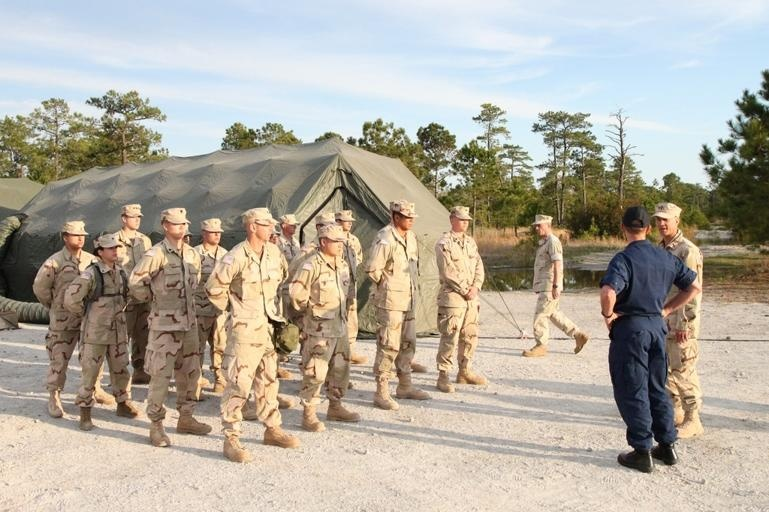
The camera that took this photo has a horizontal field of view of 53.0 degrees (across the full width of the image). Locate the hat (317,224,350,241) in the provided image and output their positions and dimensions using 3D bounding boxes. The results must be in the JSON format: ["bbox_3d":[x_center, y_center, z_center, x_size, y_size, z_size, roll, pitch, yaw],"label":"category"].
[{"bbox_3d":[-0.703,-0.333,11.432,0.380,0.147,0.251,-1,13,-45],"label":"hat"}]

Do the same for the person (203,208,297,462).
[{"bbox_3d":[-1.867,1.087,10.882,1.185,3.577,0.558,2,0,-34],"label":"person"}]

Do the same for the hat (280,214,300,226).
[{"bbox_3d":[-1.832,-0.675,14.414,0.236,0.125,0.340,-5,10,-41],"label":"hat"}]

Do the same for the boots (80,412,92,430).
[{"bbox_3d":[-4.412,2.412,11.525,0.193,0.349,0.283,2,0,-21],"label":"boots"}]

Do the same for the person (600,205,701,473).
[{"bbox_3d":[3.457,1.116,10.515,1.338,3.557,0.415,2,0,-23],"label":"person"}]

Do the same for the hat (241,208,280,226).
[{"bbox_3d":[-1.791,-0.551,10.980,0.373,0.145,0.264,3,4,10],"label":"hat"}]

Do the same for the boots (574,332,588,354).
[{"bbox_3d":[3.722,1.647,14.744,0.213,0.399,0.577,2,0,12],"label":"boots"}]

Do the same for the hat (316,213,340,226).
[{"bbox_3d":[-0.902,-0.563,11.933,0.220,0.143,0.294,0,4,7],"label":"hat"}]

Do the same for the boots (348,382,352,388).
[{"bbox_3d":[-0.574,2.198,13.078,0.090,0.047,0.120,1,-2,2],"label":"boots"}]

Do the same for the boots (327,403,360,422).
[{"bbox_3d":[-0.641,2.389,11.817,0.569,0.373,0.217,-1,4,-3],"label":"boots"}]

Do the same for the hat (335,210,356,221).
[{"bbox_3d":[-0.753,-0.697,13.410,0.253,0.133,0.366,-4,6,-44],"label":"hat"}]

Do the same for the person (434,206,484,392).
[{"bbox_3d":[1.264,0.723,12.884,0.615,3.065,0.845,2,0,43],"label":"person"}]

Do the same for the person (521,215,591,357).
[{"bbox_3d":[3.315,0.554,15.040,1.031,2.669,1.470,2,0,15],"label":"person"}]

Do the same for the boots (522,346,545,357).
[{"bbox_3d":[2.830,1.807,14.542,0.447,0.269,0.169,2,-3,1],"label":"boots"}]

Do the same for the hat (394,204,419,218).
[{"bbox_3d":[0.332,-0.739,12.279,0.319,0.128,0.228,24,22,32],"label":"hat"}]

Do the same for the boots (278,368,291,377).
[{"bbox_3d":[-1.783,2.088,13.693,0.204,0.197,0.105,-14,39,-22],"label":"boots"}]

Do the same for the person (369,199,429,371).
[{"bbox_3d":[0.151,0.680,12.337,0.911,3.075,0.492,2,0,-44],"label":"person"}]

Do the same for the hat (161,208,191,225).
[{"bbox_3d":[-3.159,-0.602,11.472,0.290,0.163,0.396,-5,10,-44],"label":"hat"}]

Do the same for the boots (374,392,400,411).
[{"bbox_3d":[0.022,2.318,12.209,0.520,0.355,0.174,0,2,14],"label":"boots"}]

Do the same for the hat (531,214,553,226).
[{"bbox_3d":[3.066,-0.692,14.775,0.500,0.195,0.367,-2,1,2],"label":"hat"}]

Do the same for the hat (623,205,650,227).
[{"bbox_3d":[3.472,-0.561,10.749,0.392,0.278,0.622,1,14,11],"label":"hat"}]

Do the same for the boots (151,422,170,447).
[{"bbox_3d":[-3.225,2.561,11.141,0.343,0.355,0.261,2,0,-5],"label":"boots"}]

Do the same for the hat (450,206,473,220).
[{"bbox_3d":[1.194,-0.714,12.905,0.422,0.172,0.298,6,6,37],"label":"hat"}]

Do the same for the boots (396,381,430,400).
[{"bbox_3d":[0.437,2.204,12.589,0.640,0.417,0.214,0,3,2],"label":"boots"}]

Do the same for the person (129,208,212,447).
[{"bbox_3d":[-3.127,1.016,11.322,1.103,3.508,0.649,2,0,-19],"label":"person"}]

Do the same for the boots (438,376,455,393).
[{"bbox_3d":[1.009,2.126,12.828,0.300,0.256,0.264,2,0,3],"label":"boots"}]

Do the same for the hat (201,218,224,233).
[{"bbox_3d":[-2.938,-0.514,12.929,0.291,0.182,0.384,-4,9,-42],"label":"hat"}]

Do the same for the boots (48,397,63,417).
[{"bbox_3d":[-5.033,2.326,11.896,0.236,0.320,0.369,2,0,-24],"label":"boots"}]
